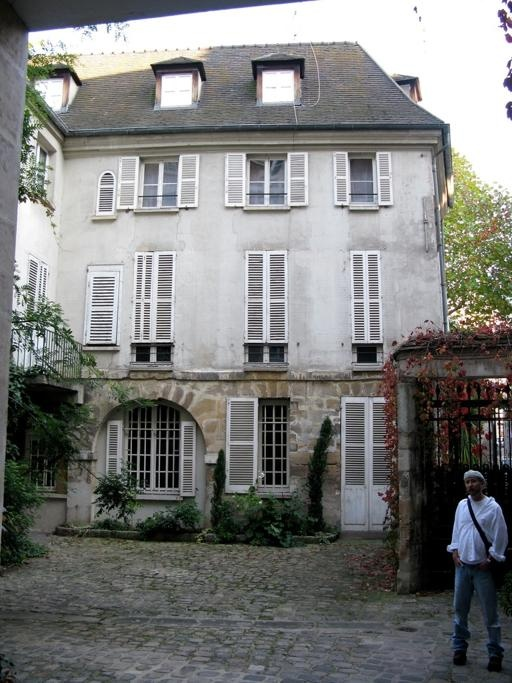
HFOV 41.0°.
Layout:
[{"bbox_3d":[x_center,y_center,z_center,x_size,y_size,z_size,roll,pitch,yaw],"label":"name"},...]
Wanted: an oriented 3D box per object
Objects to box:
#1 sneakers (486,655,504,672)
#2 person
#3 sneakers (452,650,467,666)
[{"bbox_3d":[1.603,2.164,4.604,0.054,0.064,0.157,1,-6,11],"label":"sneakers"},{"bbox_3d":[1.596,1.624,4.983,0.463,1.345,0.540,7,-12,-37],"label":"person"},{"bbox_3d":[1.435,2.223,4.815,0.050,0.059,0.146,3,-5,14],"label":"sneakers"}]
